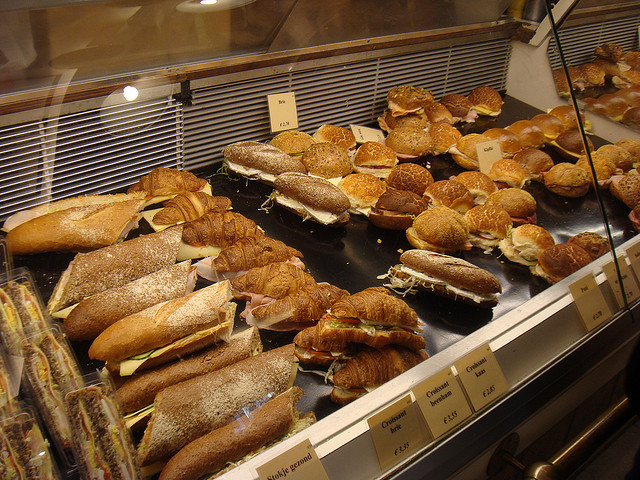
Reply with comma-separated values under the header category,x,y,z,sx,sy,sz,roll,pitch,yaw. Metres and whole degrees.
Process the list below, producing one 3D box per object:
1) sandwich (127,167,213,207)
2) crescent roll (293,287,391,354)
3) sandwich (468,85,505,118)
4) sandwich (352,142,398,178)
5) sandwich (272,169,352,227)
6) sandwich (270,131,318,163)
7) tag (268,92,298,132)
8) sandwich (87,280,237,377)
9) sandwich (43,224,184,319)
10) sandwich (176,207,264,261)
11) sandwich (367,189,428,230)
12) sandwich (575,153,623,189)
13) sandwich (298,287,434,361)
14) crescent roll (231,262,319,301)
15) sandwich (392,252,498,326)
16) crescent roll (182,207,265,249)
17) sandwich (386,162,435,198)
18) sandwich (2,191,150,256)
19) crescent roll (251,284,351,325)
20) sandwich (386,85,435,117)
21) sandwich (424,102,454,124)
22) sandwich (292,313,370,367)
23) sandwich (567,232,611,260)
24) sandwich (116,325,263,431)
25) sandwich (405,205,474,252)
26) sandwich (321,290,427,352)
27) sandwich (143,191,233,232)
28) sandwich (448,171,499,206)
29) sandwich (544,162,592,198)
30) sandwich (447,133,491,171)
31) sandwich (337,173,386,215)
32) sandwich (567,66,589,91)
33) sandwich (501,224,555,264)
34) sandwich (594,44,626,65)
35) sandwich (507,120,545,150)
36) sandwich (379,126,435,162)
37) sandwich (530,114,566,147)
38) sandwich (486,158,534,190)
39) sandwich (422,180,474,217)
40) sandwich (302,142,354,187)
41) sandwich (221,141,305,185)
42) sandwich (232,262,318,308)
category,x,y,z,sx,sy,sz,roll,pitch,yaw
sandwich,-0.809,-0.283,2.389,0.510,0.138,0.240,-12,19,-24
crescent roll,0.020,0.320,1.837,0.367,0.091,0.173,-11,23,-26
sandwich,1.303,-1.110,3.879,0.309,0.091,0.260,30,73,13
sandwich,0.352,-0.513,3.051,0.316,0.136,0.233,2,38,-5
sandwich,-0.092,-0.214,2.711,0.459,0.168,0.283,22,51,12
sandwich,-0.167,-0.589,2.973,0.238,0.071,0.273,16,21,19
tag,-0.234,-0.795,2.932,0.299,0.218,0.028,-18,26,-32
sandwich,-0.545,0.308,1.718,0.504,0.124,0.277,-11,26,-15
sandwich,-0.818,0.108,1.898,0.709,0.162,0.167,-16,32,-24
sandwich,-0.502,-0.056,2.328,0.530,0.152,0.257,0,10,-45
sandwich,0.439,-0.177,2.661,0.263,0.134,0.308,-13,18,-39
sandwich,1.600,-0.412,2.824,0.292,0.135,0.266,-29,25,-23
sandwich,0.174,0.326,1.880,0.483,0.117,0.267,-5,26,-9
crescent roll,-0.201,0.163,2.138,0.439,0.113,0.194,4,18,-14
sandwich,0.579,0.207,2.340,0.474,0.179,0.339,28,32,23
crescent roll,-0.494,-0.062,2.289,0.393,0.106,0.181,-2,-1,-30
sandwich,0.529,-0.375,2.957,0.280,0.120,0.245,-18,36,-27
sandwich,-0.996,-0.061,1.990,0.509,0.092,0.202,-10,48,-33
crescent roll,-0.091,0.261,2.029,0.451,0.117,0.144,-10,31,-37
sandwich,0.639,-1.009,3.443,0.341,0.081,0.281,-15,40,-24
sandwich,0.881,-0.968,3.624,0.191,0.070,0.224,-4,27,-17
sandwich,0.038,0.386,1.851,0.291,0.073,0.183,-6,25,-16
sandwich,1.379,0.027,2.460,0.155,0.045,0.162,-30,37,-26
sandwich,-0.384,0.477,1.727,0.694,0.161,0.160,-14,49,-20
sandwich,0.623,-0.047,2.597,0.347,0.148,0.271,-7,33,-15
sandwich,0.174,0.312,1.963,0.531,0.142,0.317,10,-1,-18
sandwich,-0.634,-0.139,2.328,0.339,0.094,0.192,-15,44,-35
sandwich,0.962,-0.344,2.959,0.313,0.071,0.241,-2,30,-9
sandwich,1.607,-0.414,3.079,0.345,0.145,0.246,4,43,28
sandwich,1.039,-0.621,3.311,0.345,0.174,0.285,-20,33,-22
sandwich,0.234,-0.291,2.775,0.298,0.121,0.279,25,43,25
sandwich,1.478,-0.936,2.755,0.180,0.146,0.056,-17,38,-24
sandwich,1.096,0.021,2.559,0.304,0.133,0.230,-5,35,9
sandwich,1.688,-1.090,2.797,0.168,0.100,0.075,12,36,23
sandwich,1.455,-0.768,3.500,0.263,0.081,0.280,-26,46,-21
sandwich,0.592,-0.670,3.247,0.339,0.138,0.284,-17,39,-23
sandwich,1.658,-0.823,3.519,0.249,0.132,0.241,-19,39,2
sandwich,1.231,-0.434,3.122,0.231,0.129,0.299,-32,37,-31
sandwich,0.745,-0.264,2.780,0.305,0.128,0.252,12,20,14
sandwich,-0.011,-0.447,2.958,0.320,0.095,0.283,38,55,12
sandwich,-0.346,-0.458,2.777,0.522,0.122,0.211,13,30,13
sandwich,-0.208,0.161,2.194,0.448,0.130,0.247,0,9,44
